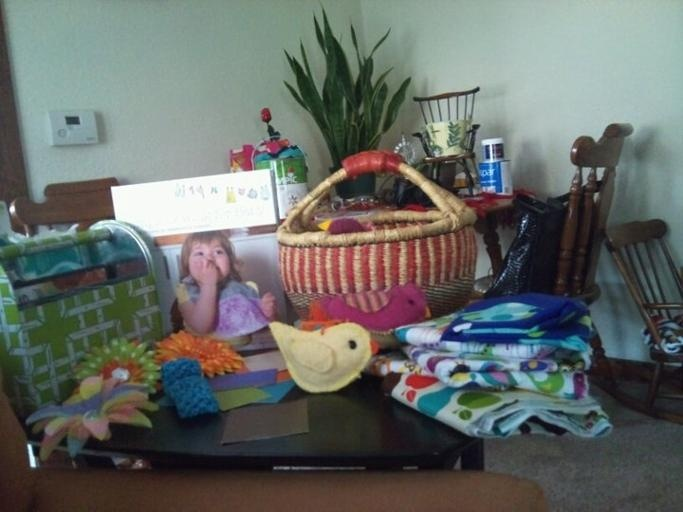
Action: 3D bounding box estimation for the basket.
[{"bbox_3d":[0.078,0.011,1.273,0.419,0.364,0.420,-4,4,3],"label":"basket"}]

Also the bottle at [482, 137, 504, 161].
[{"bbox_3d":[0.616,-0.437,2.324,0.098,0.095,0.099,-3,5,35],"label":"bottle"}]

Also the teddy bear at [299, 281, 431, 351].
[{"bbox_3d":[0.045,0.097,1.103,0.186,0.075,0.146,-9,1,7],"label":"teddy bear"}]

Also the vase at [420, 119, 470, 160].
[{"bbox_3d":[0.434,-0.469,2.328,0.163,0.108,0.171,-5,4,-29],"label":"vase"}]

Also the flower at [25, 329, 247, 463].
[{"bbox_3d":[-0.383,0.203,1.028,0.222,0.089,0.315,12,11,33],"label":"flower"}]

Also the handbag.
[{"bbox_3d":[0.676,-0.028,1.856,0.126,0.334,0.332,21,25,40],"label":"handbag"}]
